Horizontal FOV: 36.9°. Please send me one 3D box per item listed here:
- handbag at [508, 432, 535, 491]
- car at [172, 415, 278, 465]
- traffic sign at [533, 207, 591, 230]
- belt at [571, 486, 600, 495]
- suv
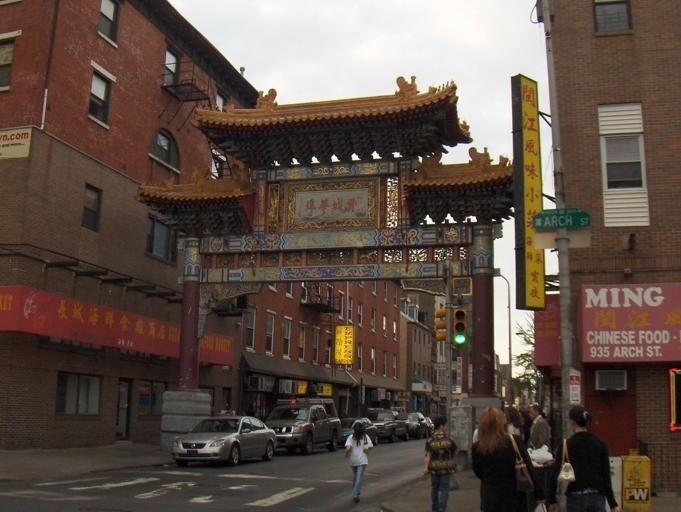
[{"bbox_3d":[3.627,4.121,20.453,0.375,1.122,0.189,-5,-15,9],"label":"handbag"},{"bbox_3d":[-3.914,6.391,35.208,1.855,1.751,4.448,-10,-17,24],"label":"car"},{"bbox_3d":[5.447,-0.893,25.079,1.545,0.608,0.211,0,2,11],"label":"traffic sign"},{"bbox_3d":[4.943,4.724,20.578,0.486,0.111,0.081,-2,-15,-3],"label":"belt"},{"bbox_3d":[-1.697,6.875,41.461,1.755,1.543,3.280,-6,-17,18],"label":"suv"}]
